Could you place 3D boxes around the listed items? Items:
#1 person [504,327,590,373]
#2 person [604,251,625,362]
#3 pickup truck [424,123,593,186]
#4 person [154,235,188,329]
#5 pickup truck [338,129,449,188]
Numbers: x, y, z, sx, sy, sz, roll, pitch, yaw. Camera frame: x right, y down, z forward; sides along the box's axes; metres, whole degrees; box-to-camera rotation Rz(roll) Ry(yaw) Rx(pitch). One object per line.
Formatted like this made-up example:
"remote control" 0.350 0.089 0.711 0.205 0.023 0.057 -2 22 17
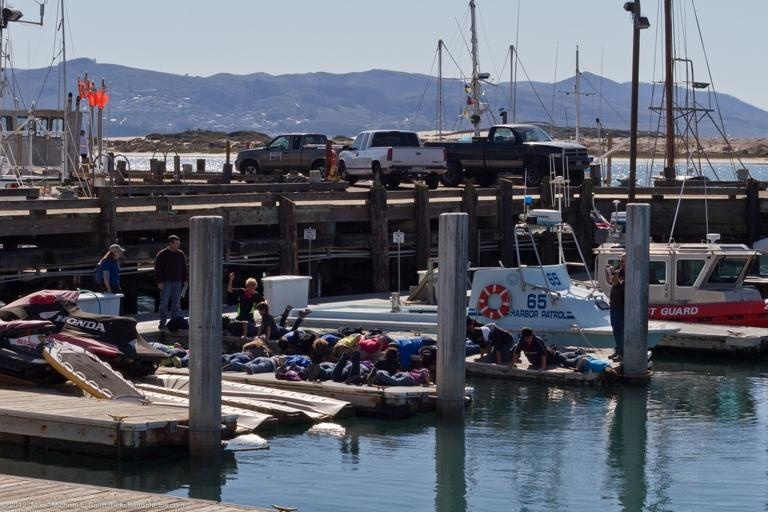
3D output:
"person" 3.756 2.263 35.588 1.671 0.696 0.872 18 -19 -11
"person" 5.411 1.191 35.977 0.562 2.486 0.542 4 1 27
"pickup truck" 4.245 -3.392 50.436 5.032 1.830 2.425 1 2 37
"person" -5.116 0.633 37.011 0.990 2.286 0.843 2 -2 -1
"pickup truck" 0.110 -3.157 49.405 2.244 1.946 3.670 -4 3 -38
